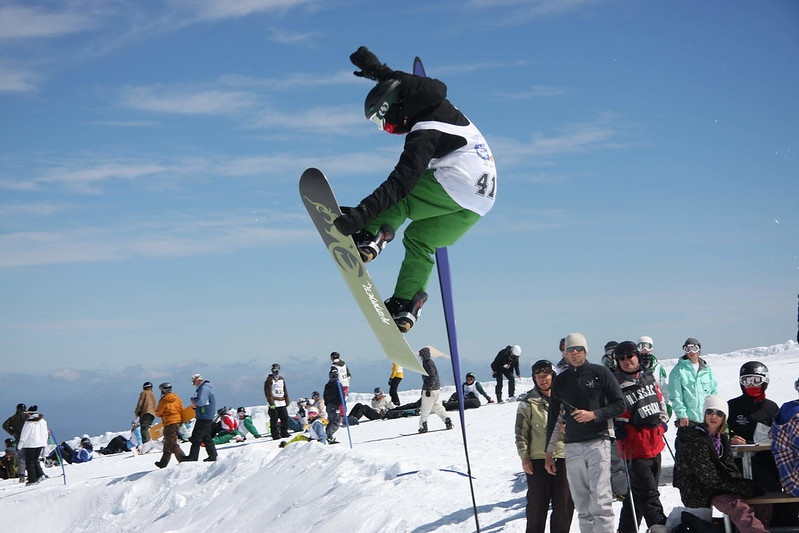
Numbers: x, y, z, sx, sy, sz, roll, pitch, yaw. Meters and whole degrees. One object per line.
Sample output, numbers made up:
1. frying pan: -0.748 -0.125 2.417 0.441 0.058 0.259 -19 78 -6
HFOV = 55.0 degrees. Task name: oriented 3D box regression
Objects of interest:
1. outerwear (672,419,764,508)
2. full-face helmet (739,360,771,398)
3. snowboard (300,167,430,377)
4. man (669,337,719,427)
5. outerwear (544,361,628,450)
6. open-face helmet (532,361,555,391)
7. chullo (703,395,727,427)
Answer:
1. outerwear: 4.539 2.900 11.032 1.255 1.024 0.895 -2 -7 23
2. full-face helmet: 5.378 1.740 11.687 0.391 0.556 0.300 -9 -9 19
3. snowboard: -0.215 -0.223 9.416 0.474 3.198 0.295 -34 10 24
4. man: 5.014 2.371 12.968 0.842 2.213 0.652 -5 17 9
5. outerwear: 2.687 2.079 11.464 1.359 1.288 0.864 -16 -18 41
6. open-face helmet: 2.235 1.706 12.015 0.369 0.446 0.488 -11 -11 9
7. chullo: 4.620 2.126 11.232 0.327 0.385 0.320 5 9 4
